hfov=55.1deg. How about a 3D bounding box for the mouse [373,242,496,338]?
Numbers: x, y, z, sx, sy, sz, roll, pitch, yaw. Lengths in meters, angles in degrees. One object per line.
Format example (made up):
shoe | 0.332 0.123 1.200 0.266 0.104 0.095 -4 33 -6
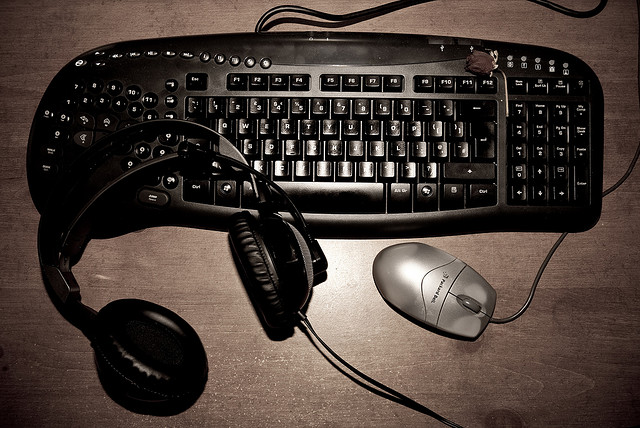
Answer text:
mouse | 0.204 0.134 1.134 0.216 0.055 0.134 29 87 9
